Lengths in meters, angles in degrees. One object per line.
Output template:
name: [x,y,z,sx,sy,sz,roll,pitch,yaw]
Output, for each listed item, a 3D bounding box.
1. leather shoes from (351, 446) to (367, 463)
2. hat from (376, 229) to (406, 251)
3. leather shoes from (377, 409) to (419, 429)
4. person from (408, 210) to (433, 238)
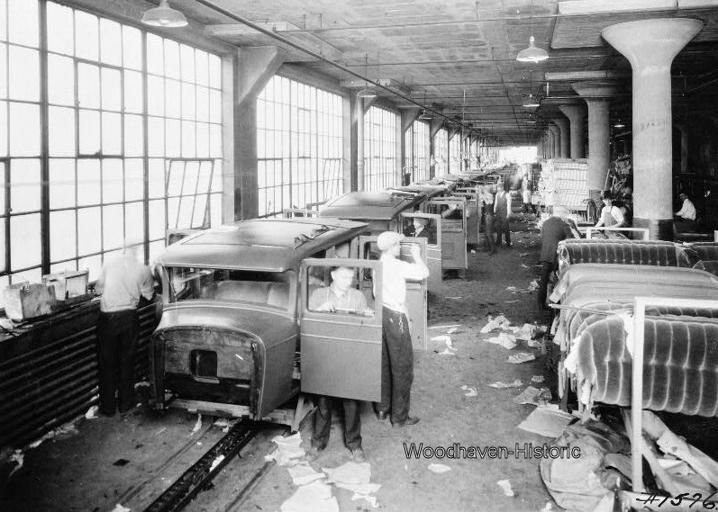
leather shoes: [-0.016,2.544,6.840,0.189,0.122,0.175,-1,11,-1]
hat: [0.453,-0.232,8.032,0.362,0.190,0.248,-37,31,-25]
leather shoes: [0.591,2.354,7.727,0.605,0.265,0.218,-7,9,-14]
person: [1.725,-1.038,14.920,0.517,0.671,1.225,5,9,27]
